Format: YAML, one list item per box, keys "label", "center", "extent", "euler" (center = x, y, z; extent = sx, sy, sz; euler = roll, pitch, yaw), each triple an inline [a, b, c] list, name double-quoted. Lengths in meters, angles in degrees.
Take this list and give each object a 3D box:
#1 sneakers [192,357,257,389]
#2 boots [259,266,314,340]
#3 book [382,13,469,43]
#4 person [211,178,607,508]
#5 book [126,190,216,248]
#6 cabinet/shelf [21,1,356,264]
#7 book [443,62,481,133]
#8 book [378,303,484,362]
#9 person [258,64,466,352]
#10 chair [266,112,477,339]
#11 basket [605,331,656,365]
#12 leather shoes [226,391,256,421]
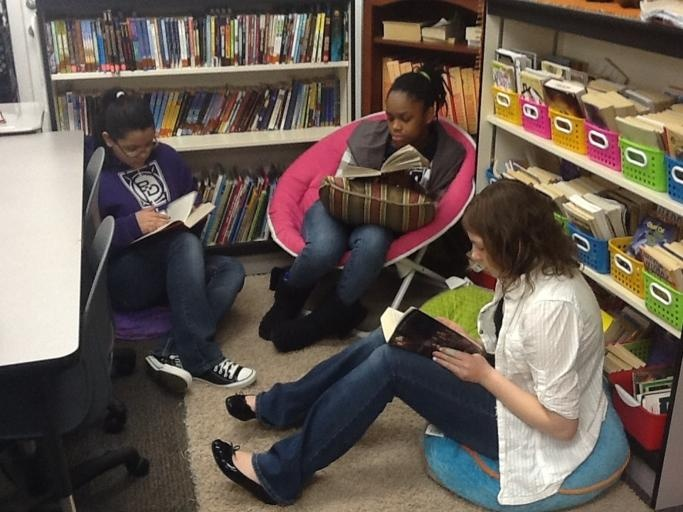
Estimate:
- label: "sneakers"
  center: [-0.517, 0.506, 2.388]
  extent: [0.271, 0.110, 0.108]
  euler: [2, 40, 13]
- label: "boots"
  center: [-0.260, 0.238, 2.651]
  extent: [0.095, 0.284, 0.185]
  euler: [29, 5, 26]
- label: "book"
  center: [0.448, -1.246, 3.018]
  extent: [0.178, 0.131, 0.519]
  euler: [-17, 30, -34]
- label: "person"
  center: [0.181, 0.089, 2.012]
  extent: [1.419, 1.200, 0.764]
  euler: [1, 25, 5]
- label: "book"
  center: [-0.763, -0.199, 2.575]
  extent: [0.269, 0.115, 0.279]
  euler: [-9, 23, 45]
- label: "cabinet/shelf"
  center: [-0.800, -0.664, 2.803]
  extent: [1.244, 1.230, 0.386]
  euler: [-9, 29, -14]
- label: "book"
  center: [0.632, -0.844, 2.909]
  extent: [0.228, 0.343, 0.341]
  euler: [7, 32, 20]
- label: "book"
  center: [0.294, 0.254, 1.776]
  extent: [0.230, 0.071, 0.138]
  euler: [31, -26, -22]
- label: "person"
  center: [0.059, -0.240, 2.640]
  extent: [0.561, 1.328, 1.072]
  euler: [23, 24, 38]
- label: "chair"
  center: [0.248, -0.074, 3.077]
  extent: [0.962, 0.660, 1.014]
  euler: [26, 63, 37]
- label: "basket"
  center: [1.045, 0.344, 1.992]
  extent: [0.146, 0.072, 0.097]
  euler: [-4, 22, -24]
- label: "leather shoes"
  center: [-0.380, 0.574, 2.051]
  extent: [0.125, 0.076, 0.047]
  euler: [0, 14, 5]
